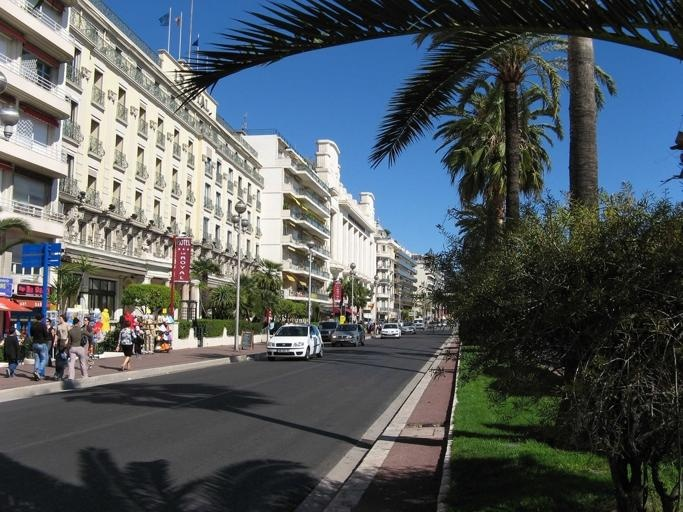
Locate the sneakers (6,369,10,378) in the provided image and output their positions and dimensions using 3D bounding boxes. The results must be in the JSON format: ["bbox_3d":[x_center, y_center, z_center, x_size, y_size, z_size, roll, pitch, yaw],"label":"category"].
[{"bbox_3d":[-9.988,3.514,17.326,0.085,0.285,0.115,2,1,1],"label":"sneakers"}]

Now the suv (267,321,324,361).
[{"bbox_3d":[-2.376,4.238,28.784,2.130,1.915,2.690,-1,-11,16],"label":"suv"}]

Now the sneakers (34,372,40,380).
[{"bbox_3d":[-8.772,3.459,16.677,0.142,0.205,0.256,8,-12,-31],"label":"sneakers"}]

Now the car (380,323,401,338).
[{"bbox_3d":[5.437,8.260,63.700,1.307,1.216,2.631,-2,-11,6],"label":"car"}]

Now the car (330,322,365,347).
[{"bbox_3d":[0.563,6.092,44.779,2.213,1.935,2.995,-1,-11,17],"label":"car"}]
